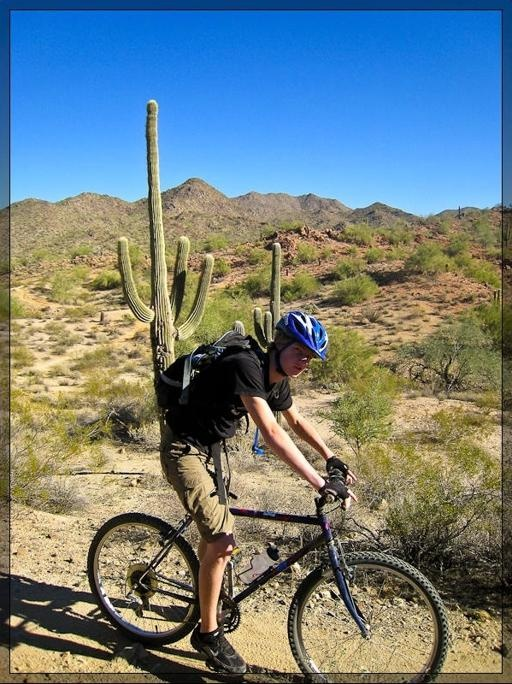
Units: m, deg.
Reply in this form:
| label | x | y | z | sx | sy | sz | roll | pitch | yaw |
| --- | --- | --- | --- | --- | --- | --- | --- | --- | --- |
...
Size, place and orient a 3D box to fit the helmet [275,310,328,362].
| label | x | y | z | sx | sy | sz | roll | pitch | yaw |
| --- | --- | --- | --- | --- | --- | --- | --- | --- | --- |
| helmet | 0.236 | -0.045 | 2.811 | 0.254 | 0.182 | 0.387 | 13 | 1 | -14 |

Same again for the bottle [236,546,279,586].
| label | x | y | z | sx | sy | sz | roll | pitch | yaw |
| --- | --- | --- | --- | --- | --- | --- | --- | --- | --- |
| bottle | 0.008 | 1.106 | 3.011 | 0.224 | 0.135 | 0.080 | -43 | -17 | 3 |

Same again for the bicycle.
| label | x | y | z | sx | sy | sz | roll | pitch | yaw |
| --- | --- | --- | --- | --- | --- | --- | --- | --- | --- |
| bicycle | 0.026 | 1.098 | 3.404 | 1.988 | 1.246 | 0.937 | 1 | -2 | 20 |

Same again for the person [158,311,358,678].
| label | x | y | z | sx | sy | sz | roll | pitch | yaw |
| --- | --- | --- | --- | --- | --- | --- | --- | --- | --- |
| person | -0.031 | 0.758 | 2.851 | 0.885 | 1.807 | 0.529 | 1 | 1 | -9 |

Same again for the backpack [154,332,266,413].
| label | x | y | z | sx | sy | sz | roll | pitch | yaw |
| --- | --- | --- | --- | --- | --- | --- | --- | --- | --- |
| backpack | -0.248 | 0.113 | 2.997 | 0.449 | 0.446 | 0.320 | 19 | 6 | -42 |
